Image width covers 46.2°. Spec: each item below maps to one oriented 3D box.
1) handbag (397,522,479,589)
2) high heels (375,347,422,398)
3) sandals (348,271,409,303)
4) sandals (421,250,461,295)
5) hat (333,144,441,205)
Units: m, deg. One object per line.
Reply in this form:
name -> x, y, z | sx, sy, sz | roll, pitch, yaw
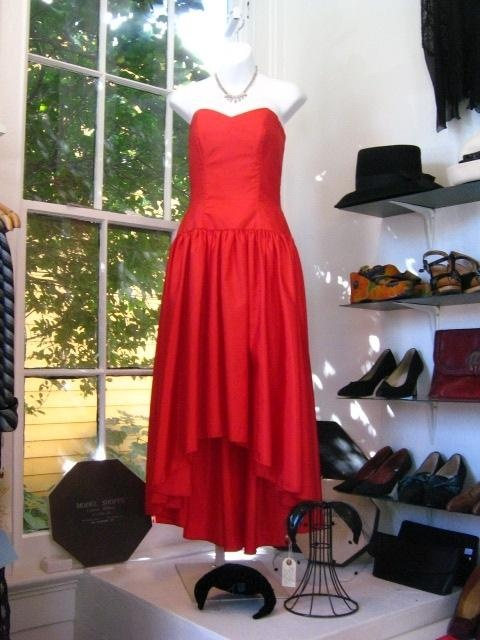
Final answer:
handbag -> 0.550, 0.648, 1.553 | 0.124, 0.130, 0.177 | 17, -12, -36
high heels -> 0.514, 0.172, 1.762 | 0.087, 0.108, 0.257 | -4, 5, 41
sandals -> 0.409, -0.093, 1.688 | 0.086, 0.057, 0.126 | -17, 8, -42
sandals -> 0.583, -0.140, 1.633 | 0.073, 0.049, 0.164 | -12, 37, 4
hat -> 0.447, -0.421, 1.713 | 0.244, 0.117, 0.204 | -8, 2, 27
